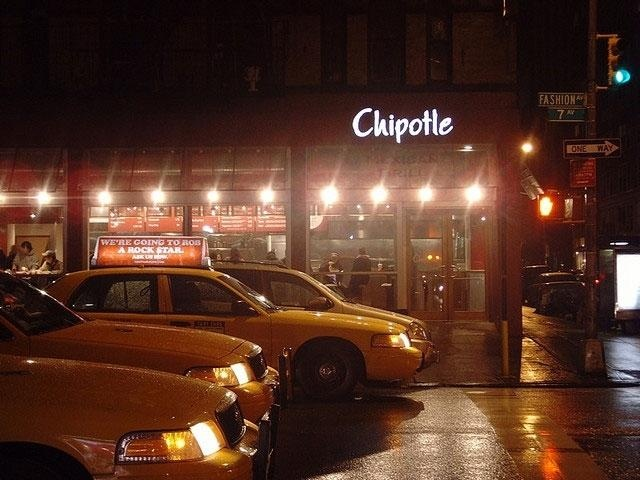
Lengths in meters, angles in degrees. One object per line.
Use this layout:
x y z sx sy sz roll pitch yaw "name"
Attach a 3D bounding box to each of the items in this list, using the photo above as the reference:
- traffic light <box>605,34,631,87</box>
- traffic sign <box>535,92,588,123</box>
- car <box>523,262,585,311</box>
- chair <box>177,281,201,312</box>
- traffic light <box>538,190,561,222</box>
6.092 -3.718 13.381 0.345 1.023 0.313 2 10 29 "traffic light"
5.004 -2.786 13.362 1.021 0.671 0.186 1 4 0 "traffic sign"
10.380 2.196 30.910 2.021 1.896 4.981 -1 0 -6 "car"
-1.959 0.796 9.657 0.301 0.570 0.328 -2 -14 -6 "chair"
8.259 -1.266 23.228 0.701 1.243 1.285 0 1 18 "traffic light"
